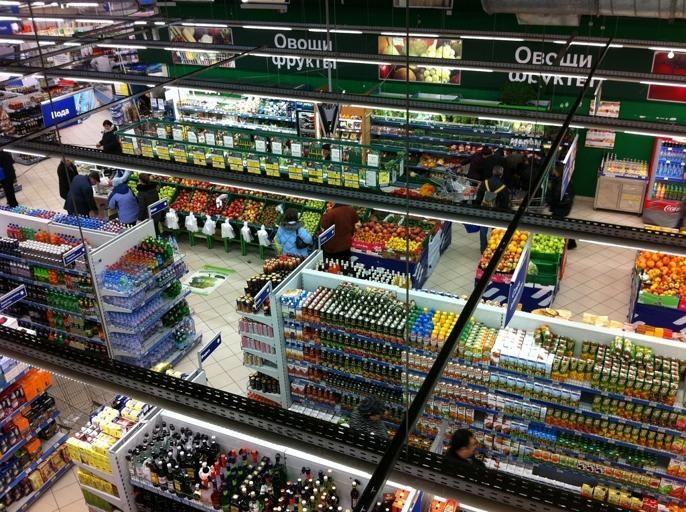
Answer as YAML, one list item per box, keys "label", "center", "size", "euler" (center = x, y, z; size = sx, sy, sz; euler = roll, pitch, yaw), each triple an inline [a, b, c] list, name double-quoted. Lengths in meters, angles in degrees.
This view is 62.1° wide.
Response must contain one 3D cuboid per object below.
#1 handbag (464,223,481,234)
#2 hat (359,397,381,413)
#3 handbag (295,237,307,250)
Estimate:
- label: "handbag"
  center: [2.631, -0.548, 11.488]
  size: [0.234, 0.184, 0.184]
  euler: [0, 29, 8]
- label: "hat"
  center: [0.329, 1.795, 6.660]
  size: [0.226, 0.198, 0.178]
  euler: [-6, 23, -6]
- label: "handbag"
  center: [-0.754, -0.219, 10.261]
  size: [0.213, 0.181, 0.166]
  euler: [3, 36, -3]
